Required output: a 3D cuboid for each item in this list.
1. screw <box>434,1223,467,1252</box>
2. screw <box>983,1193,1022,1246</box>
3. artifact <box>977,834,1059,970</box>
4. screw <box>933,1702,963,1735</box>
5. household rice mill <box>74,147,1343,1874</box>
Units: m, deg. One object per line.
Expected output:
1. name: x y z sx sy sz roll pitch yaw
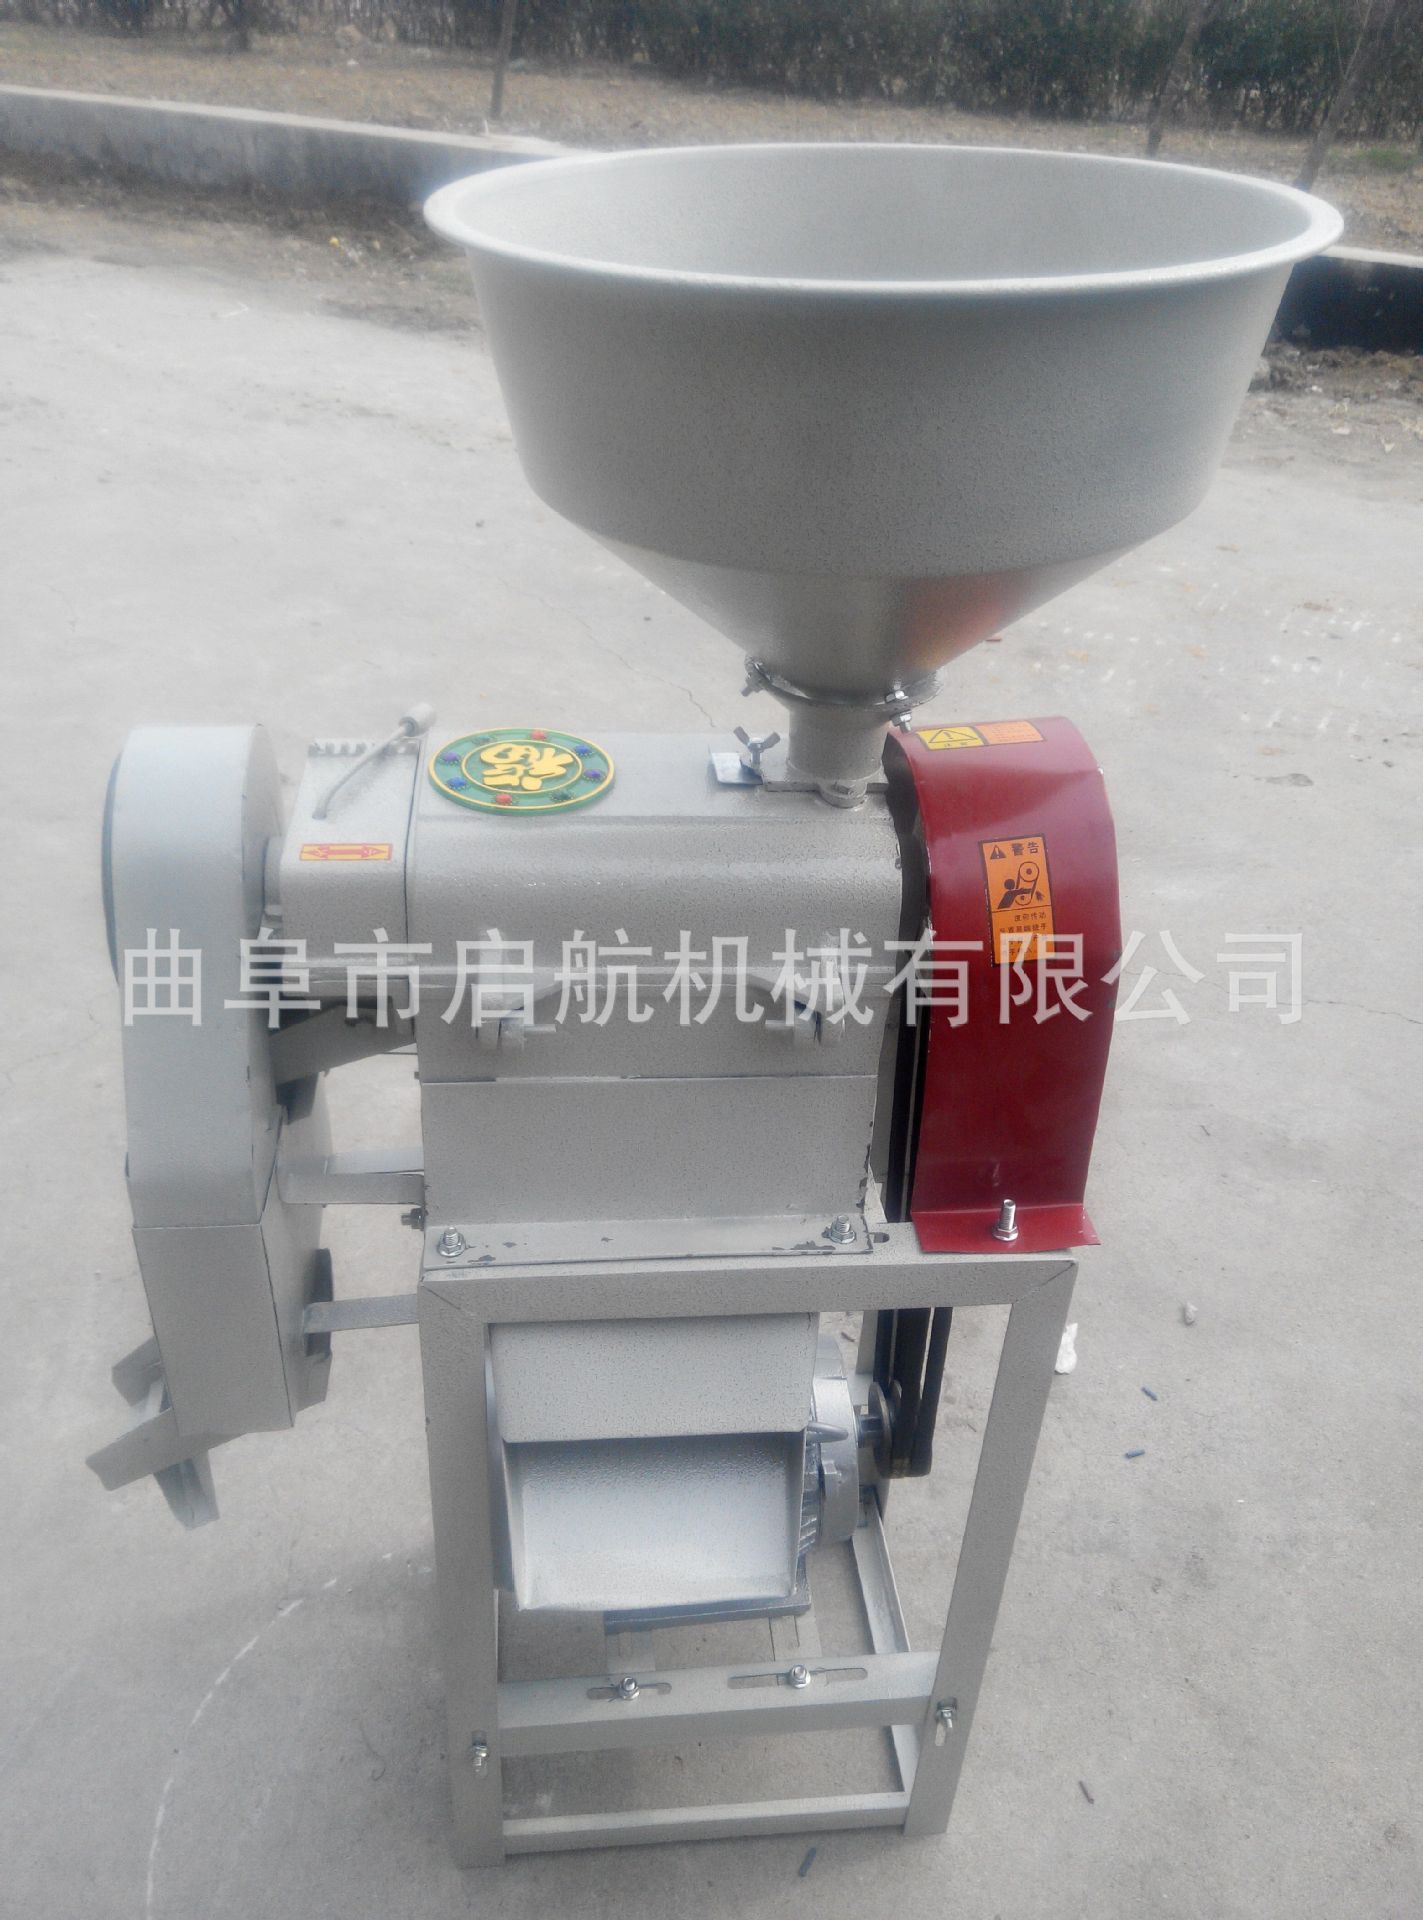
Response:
1. screw: -0.252 0.265 1.679 0.018 0.008 0.025 4 32 -4
2. screw: 0.278 0.253 1.723 0.038 0.042 0.041 3 35 -3
3. artifact: 0.277 -0.055 1.611 0.064 0.098 0.069 1 32 -4
4. screw: 0.279 0.874 2.038 0.030 0.041 0.012 2 4 -6
5. household rice mill: -0.129 0.185 1.780 1.095 1.553 0.611 0 16 -7
